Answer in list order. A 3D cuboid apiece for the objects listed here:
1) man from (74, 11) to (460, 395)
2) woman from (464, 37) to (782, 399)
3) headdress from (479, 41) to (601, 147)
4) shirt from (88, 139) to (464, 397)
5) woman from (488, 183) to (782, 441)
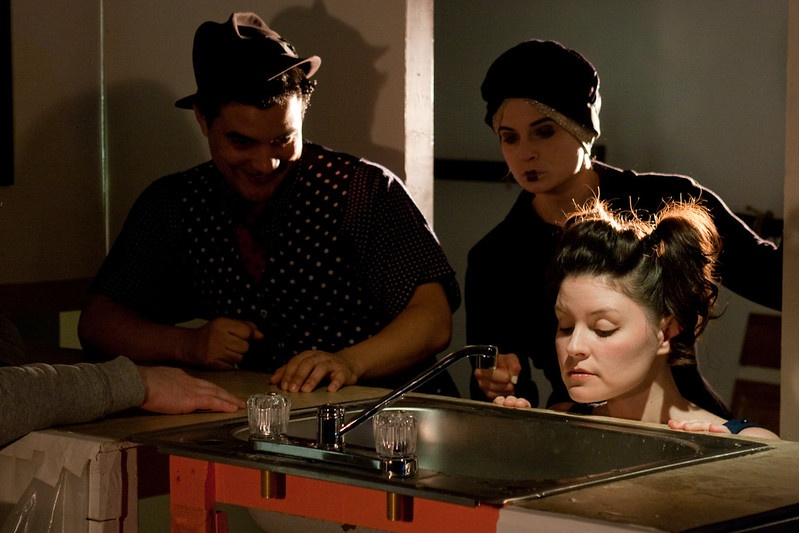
[{"bbox_3d":[-0.429,-0.071,2.432,1.079,1.198,0.837,-4,22,0],"label":"man"},{"bbox_3d":[0.601,-0.129,2.129,0.706,1.125,0.352,-13,1,25],"label":"woman"},{"bbox_3d":[0.363,-0.463,2.244,0.290,0.240,0.248,0,2,-5],"label":"headdress"},{"bbox_3d":[-0.371,0.079,2.562,1.164,0.916,0.712,-3,5,6],"label":"shirt"},{"bbox_3d":[0.588,0.127,2.360,0.565,0.753,0.712,13,-15,-32],"label":"woman"}]
